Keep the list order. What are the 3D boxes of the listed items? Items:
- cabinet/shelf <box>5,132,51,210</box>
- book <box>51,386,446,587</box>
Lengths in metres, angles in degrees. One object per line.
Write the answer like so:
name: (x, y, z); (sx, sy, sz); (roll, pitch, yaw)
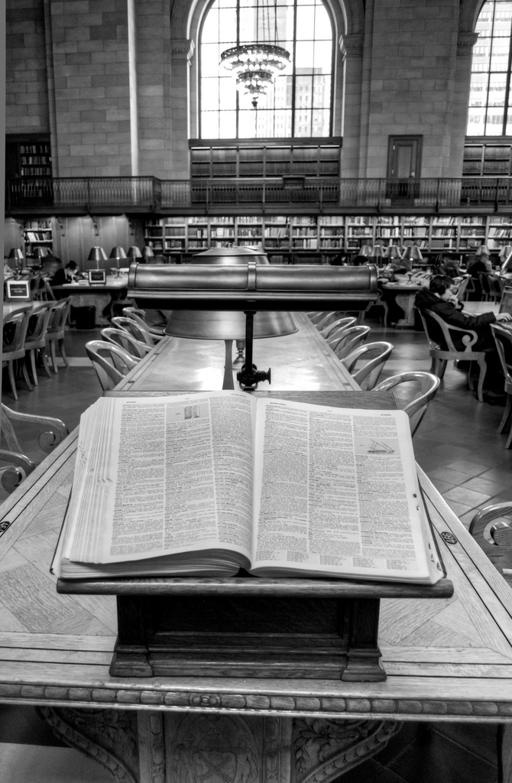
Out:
cabinet/shelf: (-7.539, -7.239, 18.062); (1.454, 2.179, 0.911); (2, 1, -6)
book: (-0.014, 0.105, 0.651); (0.421, 0.150, 0.222); (2, 1, 1)
